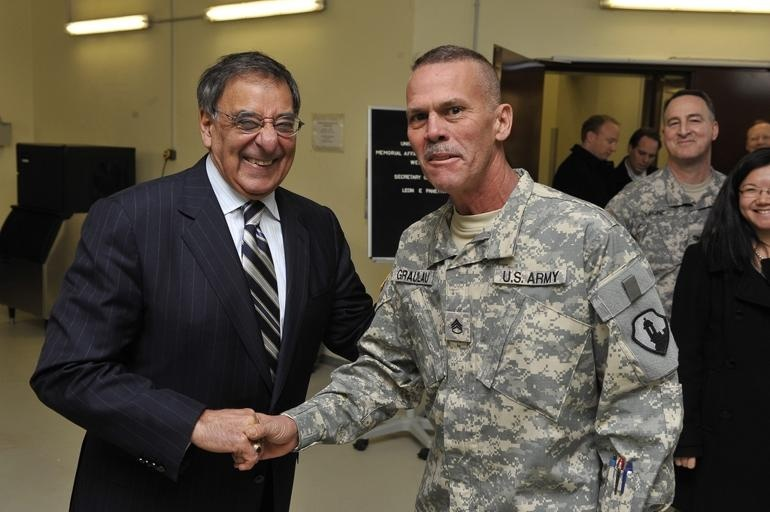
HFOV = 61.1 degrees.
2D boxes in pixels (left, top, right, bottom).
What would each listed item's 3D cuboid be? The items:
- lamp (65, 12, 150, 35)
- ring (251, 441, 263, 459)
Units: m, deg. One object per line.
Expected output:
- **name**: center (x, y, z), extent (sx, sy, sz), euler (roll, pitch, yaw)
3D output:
- **lamp**: center (-3.065, -2.517, 7.162), extent (1.328, 0.170, 0.217), euler (6, 10, 34)
- **ring**: center (-0.468, 0.716, 2.400), extent (0.038, 0.050, 0.049), euler (14, -4, -26)
